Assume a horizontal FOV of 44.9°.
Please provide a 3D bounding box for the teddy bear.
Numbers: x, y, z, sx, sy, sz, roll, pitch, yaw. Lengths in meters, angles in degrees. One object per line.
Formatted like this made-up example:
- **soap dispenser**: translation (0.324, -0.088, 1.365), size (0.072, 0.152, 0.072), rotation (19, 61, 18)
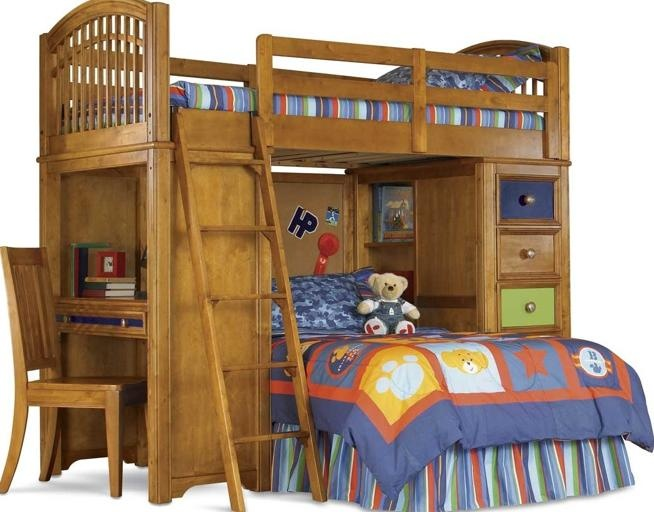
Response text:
- **teddy bear**: translation (0.433, 0.337, 5.608), size (0.416, 0.421, 0.439), rotation (-1, -3, 6)

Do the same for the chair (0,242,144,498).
- **chair**: translation (-1.556, 0.661, 4.583), size (0.894, 1.437, 0.635), rotation (-3, -4, 29)

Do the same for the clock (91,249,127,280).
- **clock**: translation (-1.350, 0.045, 4.904), size (0.204, 0.209, 0.156), rotation (0, 1, 2)

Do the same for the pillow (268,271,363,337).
- **pillow**: translation (-0.024, 0.329, 5.450), size (0.468, 0.434, 0.122), rotation (0, -40, -7)
